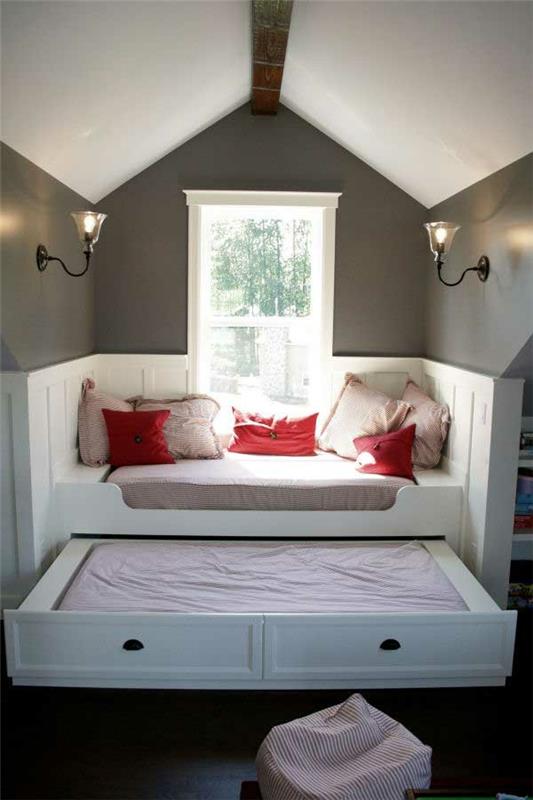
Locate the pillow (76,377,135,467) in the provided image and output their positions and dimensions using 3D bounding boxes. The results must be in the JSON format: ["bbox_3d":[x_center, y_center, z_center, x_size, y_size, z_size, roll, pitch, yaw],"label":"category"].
[{"bbox_3d":[-0.811,0.125,3.128,0.150,0.406,0.415,-3,-2,9],"label":"pillow"}]

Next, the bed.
[{"bbox_3d":[0.040,0.584,2.377,1.836,0.753,0.878,1,4,-4],"label":"bed"}]

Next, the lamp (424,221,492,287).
[{"bbox_3d":[0.820,-0.639,2.827,0.258,0.275,0.595,2,4,10],"label":"lamp"}]
